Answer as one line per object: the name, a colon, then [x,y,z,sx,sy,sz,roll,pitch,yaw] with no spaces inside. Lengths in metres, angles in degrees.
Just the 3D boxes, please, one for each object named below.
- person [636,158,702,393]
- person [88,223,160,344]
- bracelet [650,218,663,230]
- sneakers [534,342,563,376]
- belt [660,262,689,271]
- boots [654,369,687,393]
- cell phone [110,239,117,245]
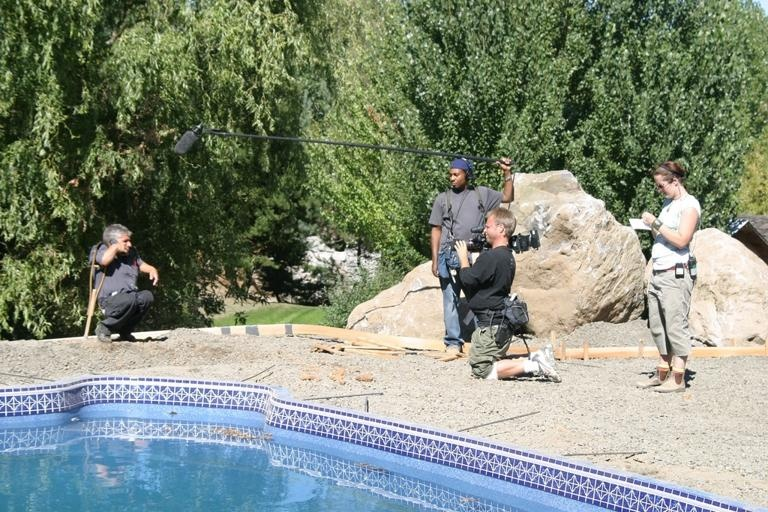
person: [4.188,0.293,15.063,0.732,3.314,0.792,-12,15,-43]
person: [-4.486,0.438,17.660,1.085,1.976,0.841,-3,11,-9]
bracelet: [3.964,-0.475,14.956,0.039,0.132,0.142,19,9,-45]
sneakers: [2.447,1.589,15.528,0.283,0.608,0.243,-25,18,9]
belt: [4.224,0.150,14.968,0.386,0.125,0.062,1,11,10]
boots: [4.210,1.831,15.213,0.601,0.424,0.241,0,-1,1]
cell phone: [-4.614,-0.255,17.457,0.097,0.091,0.031,3,-2,10]
